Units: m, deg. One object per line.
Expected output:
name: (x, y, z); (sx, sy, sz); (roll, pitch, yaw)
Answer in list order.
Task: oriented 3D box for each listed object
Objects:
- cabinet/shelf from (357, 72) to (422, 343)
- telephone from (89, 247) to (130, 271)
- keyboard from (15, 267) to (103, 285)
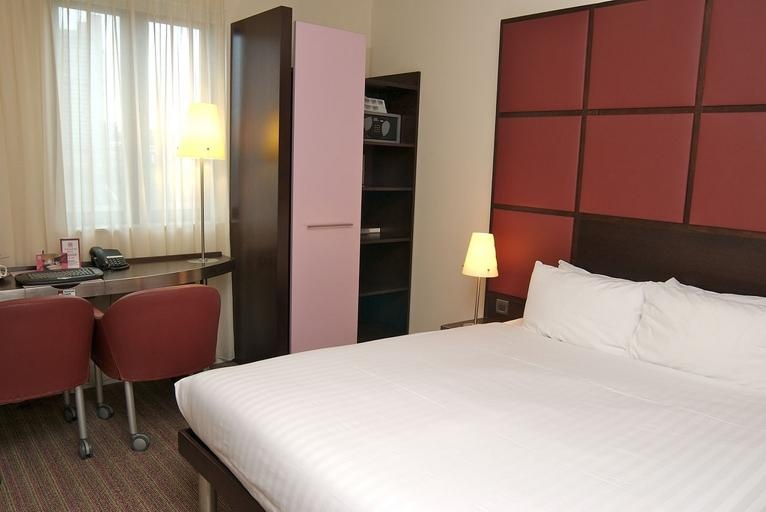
cabinet/shelf: (-0.058, -0.333, 4.790); (0.312, 2.477, 0.882); (-3, 11, -42)
telephone: (-1.957, 0.006, 3.645); (0.228, 0.095, 0.160); (18, 17, 33)
keyboard: (-2.107, 0.126, 3.347); (0.486, 0.053, 0.337); (-6, 13, -30)
